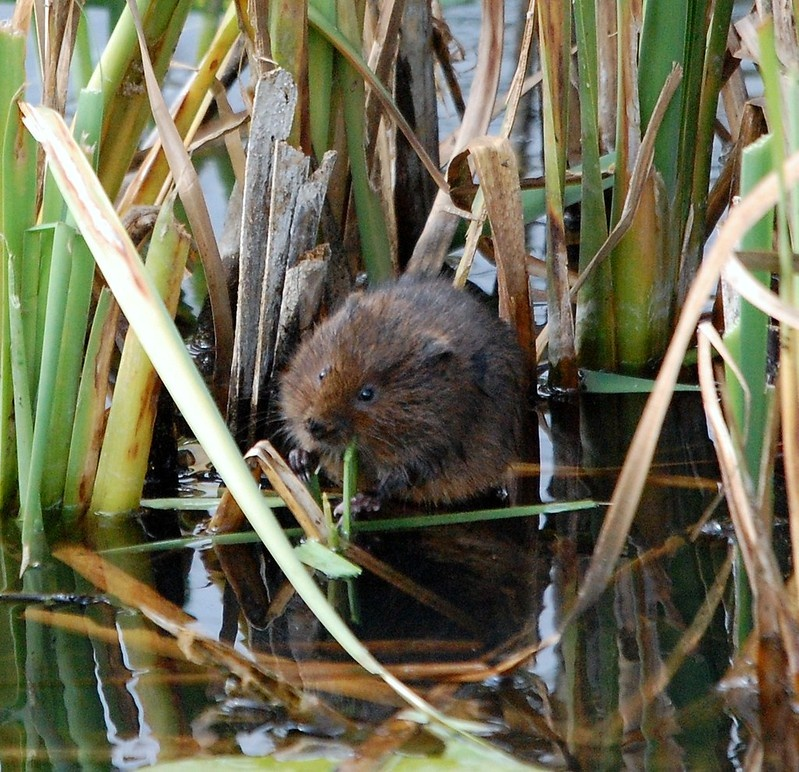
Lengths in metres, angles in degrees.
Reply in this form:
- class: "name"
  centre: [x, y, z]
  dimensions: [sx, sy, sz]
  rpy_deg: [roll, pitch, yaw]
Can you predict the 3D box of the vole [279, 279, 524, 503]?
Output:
- class: "vole"
  centre: [0.117, 0.018, 4.027]
  dimensions: [0.598, 0.744, 0.983]
  rpy_deg: [18, 18, 41]
